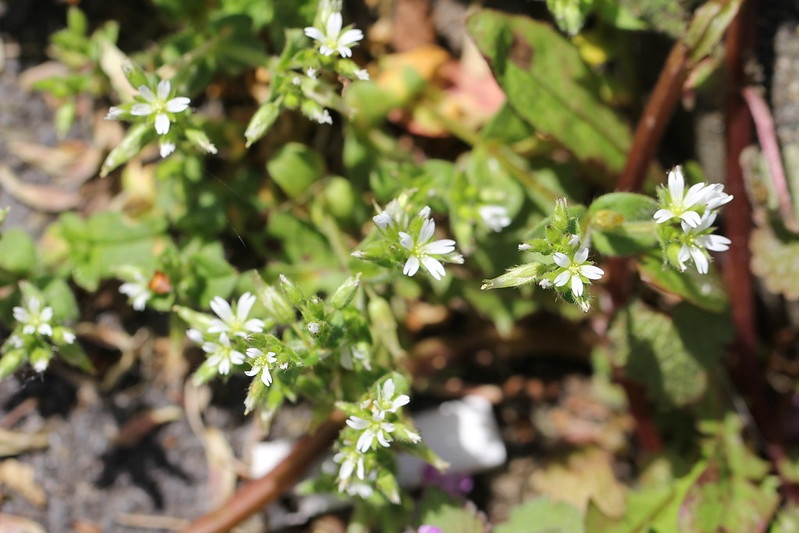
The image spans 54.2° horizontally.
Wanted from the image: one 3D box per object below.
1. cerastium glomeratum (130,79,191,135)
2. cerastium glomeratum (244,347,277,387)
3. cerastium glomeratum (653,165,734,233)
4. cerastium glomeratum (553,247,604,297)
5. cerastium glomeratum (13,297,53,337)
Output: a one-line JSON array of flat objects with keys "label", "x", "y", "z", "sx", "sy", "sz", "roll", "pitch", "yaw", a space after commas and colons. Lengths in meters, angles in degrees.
[{"label": "cerastium glomeratum", "x": -0.808, "y": -0.557, "z": 2.652, "sx": 0.185, "sy": 0.056, "sz": 0.247, "roll": 11, "pitch": 28, "yaw": 0}, {"label": "cerastium glomeratum", "x": -0.452, "y": 0.326, "z": 2.534, "sx": 0.108, "sy": 0.151, "sz": 0.048, "roll": -4, "pitch": 71, "yaw": -26}, {"label": "cerastium glomeratum", "x": 0.939, "y": -0.194, "z": 2.556, "sx": 0.197, "sy": 0.151, "sz": 0.212, "roll": 42, "pitch": 72, "yaw": 17}, {"label": "cerastium glomeratum", "x": 0.565, "y": 0.028, "z": 2.496, "sx": 0.150, "sy": 0.102, "sz": 0.146, "roll": -9, "pitch": 65, "yaw": -4}, {"label": "cerastium glomeratum", "x": -1.275, "y": 0.175, "z": 2.721, "sx": 0.126, "sy": 0.104, "sz": 0.149, "roll": -5, "pitch": 65, "yaw": -2}]
